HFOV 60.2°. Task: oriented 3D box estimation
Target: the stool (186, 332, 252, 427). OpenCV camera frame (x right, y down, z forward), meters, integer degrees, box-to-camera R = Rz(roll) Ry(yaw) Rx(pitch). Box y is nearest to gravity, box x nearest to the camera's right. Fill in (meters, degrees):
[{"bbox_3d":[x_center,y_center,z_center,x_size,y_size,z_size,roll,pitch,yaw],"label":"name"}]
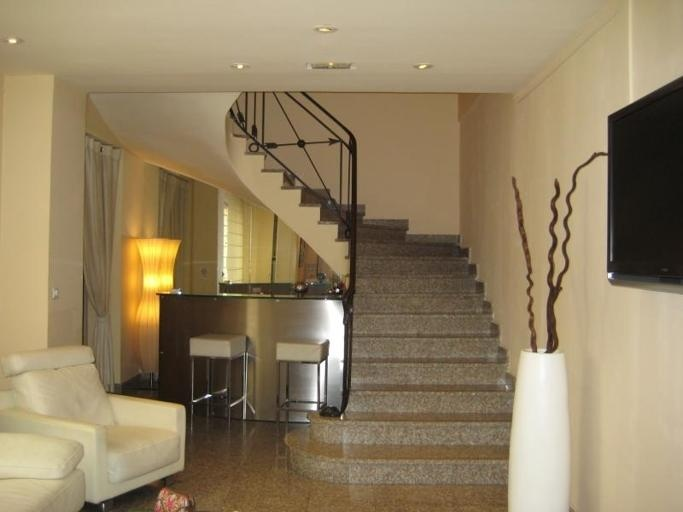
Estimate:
[{"bbox_3d":[-1.242,1.313,6.362,0.626,0.713,0.658,0,-6,-3],"label":"stool"}]
